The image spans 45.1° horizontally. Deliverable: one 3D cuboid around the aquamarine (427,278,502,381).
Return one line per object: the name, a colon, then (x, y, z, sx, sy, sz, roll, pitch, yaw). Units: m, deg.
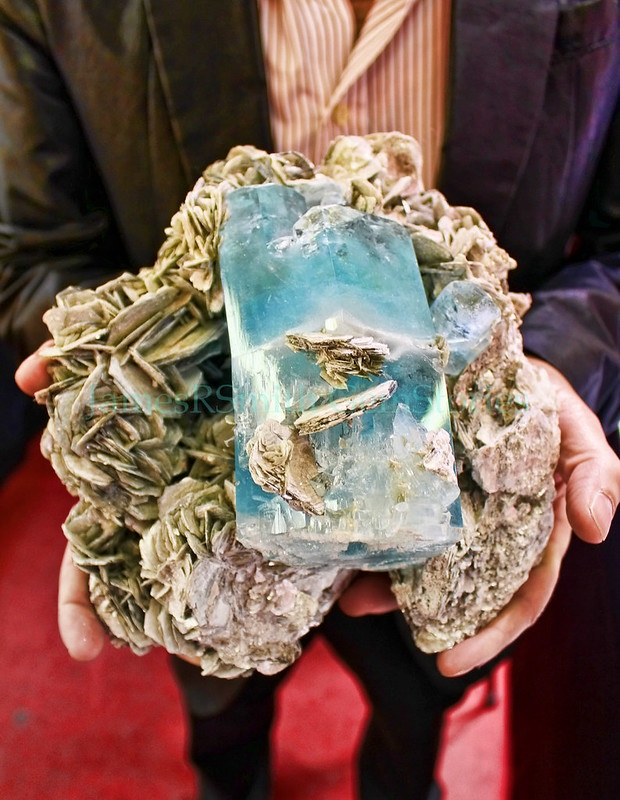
aquamarine: (0.156, -0.067, 0.754, 0.057, 0.064, 0.092, -20, 37, 34)
